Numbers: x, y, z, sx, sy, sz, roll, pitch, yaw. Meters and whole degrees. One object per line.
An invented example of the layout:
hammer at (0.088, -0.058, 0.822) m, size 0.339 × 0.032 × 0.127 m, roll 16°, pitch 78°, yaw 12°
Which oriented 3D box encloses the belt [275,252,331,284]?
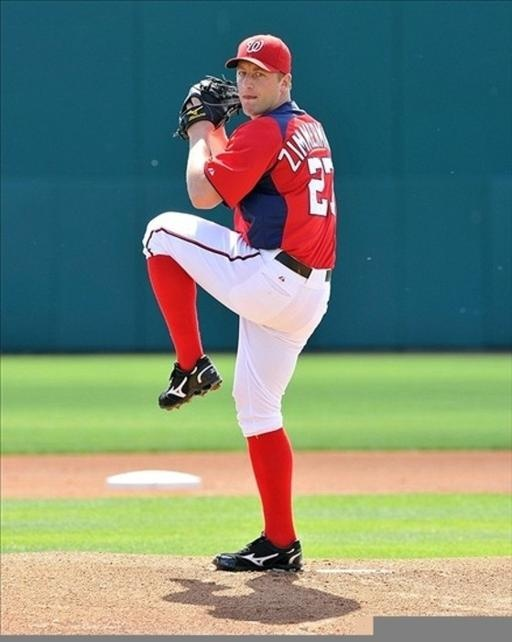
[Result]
belt at (0.162, -0.198, 3.793) m, size 0.138 × 0.036 × 0.118 m, roll 23°, pitch -1°, yaw -23°

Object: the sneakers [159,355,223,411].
sneakers at (-0.256, 0.235, 3.932) m, size 0.303 × 0.148 × 0.100 m, roll -29°, pitch -19°, yaw 25°

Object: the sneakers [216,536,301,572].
sneakers at (0.020, 0.892, 4.057) m, size 0.353 × 0.138 × 0.127 m, roll 1°, pitch -5°, yaw 1°

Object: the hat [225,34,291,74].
hat at (0.028, -0.952, 3.849) m, size 0.211 × 0.108 × 0.145 m, roll 15°, pitch 7°, yaw -24°
